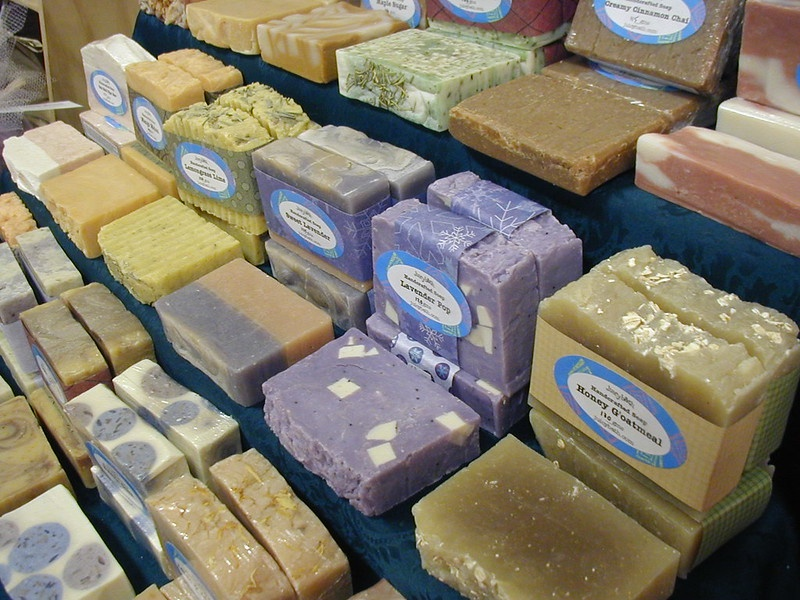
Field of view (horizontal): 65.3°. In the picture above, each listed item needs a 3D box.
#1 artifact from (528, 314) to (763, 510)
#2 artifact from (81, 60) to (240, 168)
[{"bbox_3d":[0.629,0.214,1.479,0.314,0.341,0.559,-20,33,-24],"label":"artifact"},{"bbox_3d":[-0.924,-0.799,2.707,0.342,0.360,0.442,-22,46,-30],"label":"artifact"}]
